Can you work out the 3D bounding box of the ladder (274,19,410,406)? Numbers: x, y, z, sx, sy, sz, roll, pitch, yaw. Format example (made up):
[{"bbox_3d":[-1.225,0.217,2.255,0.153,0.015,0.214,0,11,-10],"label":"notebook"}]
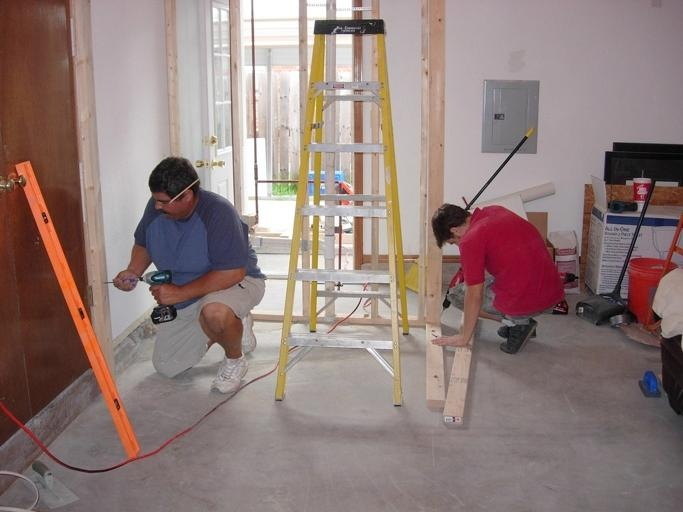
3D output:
[{"bbox_3d":[0.031,-0.400,3.828,0.952,2.306,1.988,0,18,1],"label":"ladder"}]

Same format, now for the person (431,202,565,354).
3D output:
[{"bbox_3d":[1.029,0.177,3.740,1.012,1.077,0.461,-13,22,-34],"label":"person"}]

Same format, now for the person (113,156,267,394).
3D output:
[{"bbox_3d":[-0.884,0.104,3.336,0.823,1.393,0.556,-3,18,-9],"label":"person"}]
